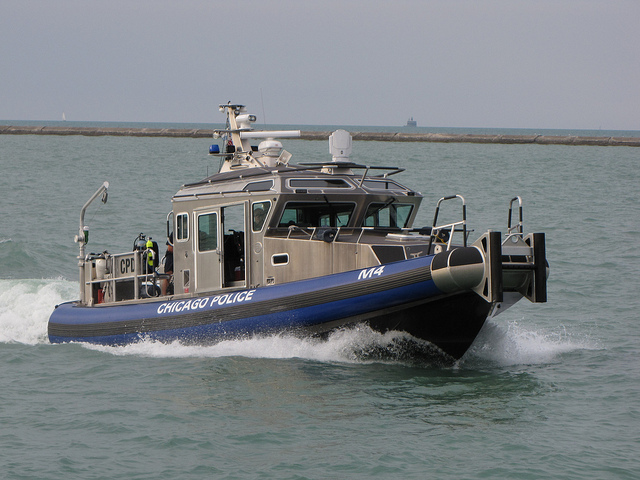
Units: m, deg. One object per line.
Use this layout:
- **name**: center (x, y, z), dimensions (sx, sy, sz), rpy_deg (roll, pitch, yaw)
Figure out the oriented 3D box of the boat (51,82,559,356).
- **boat**: center (-0.798, -0.087, 22.448), dimensions (4.390, 5.076, 12.855), rpy_deg (-5, 2, -44)
